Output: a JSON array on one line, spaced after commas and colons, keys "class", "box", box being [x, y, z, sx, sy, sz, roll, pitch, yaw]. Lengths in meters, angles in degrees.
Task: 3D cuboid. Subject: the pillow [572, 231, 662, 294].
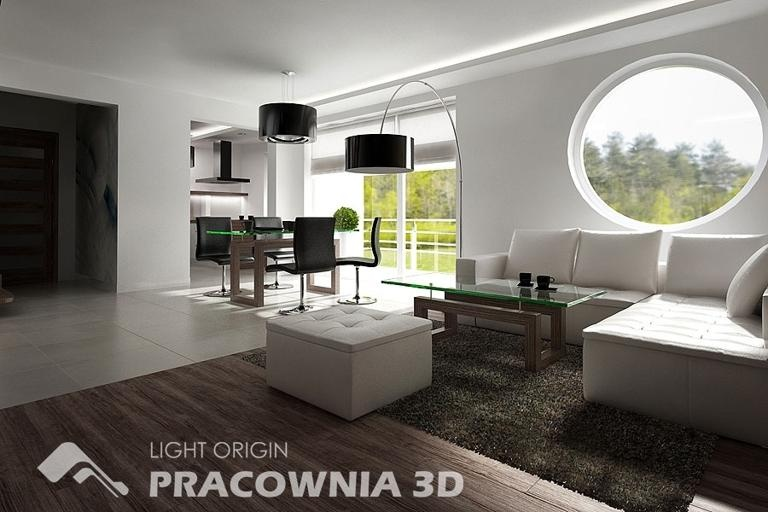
[{"class": "pillow", "box": [2.589, 0.077, 4.947, 0.672, 0.536, 0.282, 4, 3, 37]}]

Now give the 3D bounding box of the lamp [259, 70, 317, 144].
[{"class": "lamp", "box": [-1.438, -2.183, 6.502, 0.768, 0.843, 0.755, -5, 21, -36]}]

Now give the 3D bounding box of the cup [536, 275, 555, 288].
[{"class": "cup", "box": [1.573, 0.241, 4.392, 0.193, 0.132, 0.123, -3, -2, 0]}]

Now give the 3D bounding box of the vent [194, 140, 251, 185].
[{"class": "vent", "box": [-4.199, -2.456, 11.784, 1.169, 1.040, 1.183, 4, 8, 17]}]

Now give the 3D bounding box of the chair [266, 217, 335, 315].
[{"class": "chair", "box": [-1.098, 0.117, 5.934, 0.957, 1.224, 0.947, -1, 4, -14]}]

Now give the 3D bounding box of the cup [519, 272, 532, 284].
[{"class": "cup", "box": [1.370, 0.205, 4.308, 0.146, 0.109, 0.125, 1, 1, -22]}]

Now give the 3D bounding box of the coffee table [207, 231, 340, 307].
[{"class": "coffee table", "box": [-1.503, 0.201, 6.951, 0.775, 0.958, 1.464, 5, 7, 41]}]

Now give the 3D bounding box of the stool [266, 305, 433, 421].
[{"class": "stool", "box": [-0.201, 0.698, 3.629, 0.908, 0.498, 0.887, 1, 0, 43]}]

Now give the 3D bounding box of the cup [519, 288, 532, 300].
[{"class": "cup", "box": [1.226, 0.319, 3.893, 0.098, 0.061, 0.100, 0, -2, 0]}]

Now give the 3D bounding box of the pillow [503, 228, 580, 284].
[{"class": "pillow", "box": [1.893, 0.005, 5.342, 0.657, 0.509, 0.282, 1, -3, 37]}]
